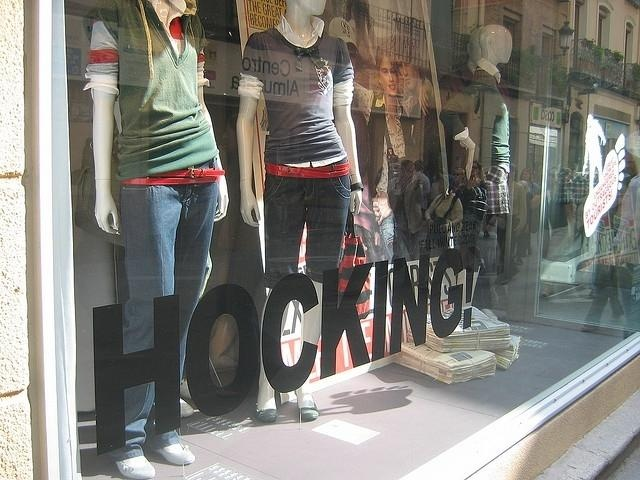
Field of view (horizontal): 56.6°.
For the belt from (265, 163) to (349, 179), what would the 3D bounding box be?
[{"bbox_3d":[-0.045,-0.293,2.521,0.434,0.064,0.027,-6,11,-39],"label":"belt"}]
